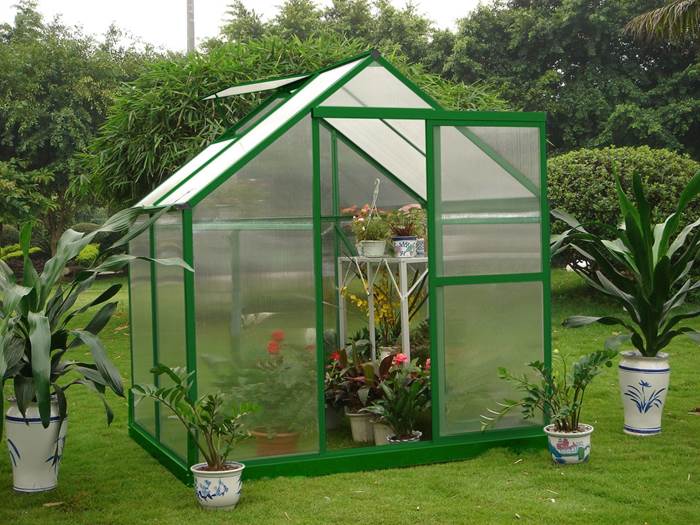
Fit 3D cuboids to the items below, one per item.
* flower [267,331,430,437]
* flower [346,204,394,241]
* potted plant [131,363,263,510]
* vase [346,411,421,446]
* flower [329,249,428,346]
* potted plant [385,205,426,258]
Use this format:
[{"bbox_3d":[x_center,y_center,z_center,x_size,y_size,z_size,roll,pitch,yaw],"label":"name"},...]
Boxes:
[{"bbox_3d":[0.072,1.172,6.960,1.264,0.900,1.094,4,-6,-42],"label":"flower"},{"bbox_3d":[0.252,-0.380,7.360,0.374,0.425,0.377,1,-1,25],"label":"flower"},{"bbox_3d":[-1.236,1.307,6.029,0.941,1.120,0.612,2,9,16],"label":"potted plant"},{"bbox_3d":[0.199,1.563,6.997,0.412,0.163,0.432,1,0,23],"label":"vase"},{"bbox_3d":[0.265,0.179,7.307,1.094,1.146,0.842,1,4,25],"label":"flower"},{"bbox_3d":[0.541,-0.279,7.191,0.419,0.512,0.457,-4,-6,30],"label":"potted plant"}]
